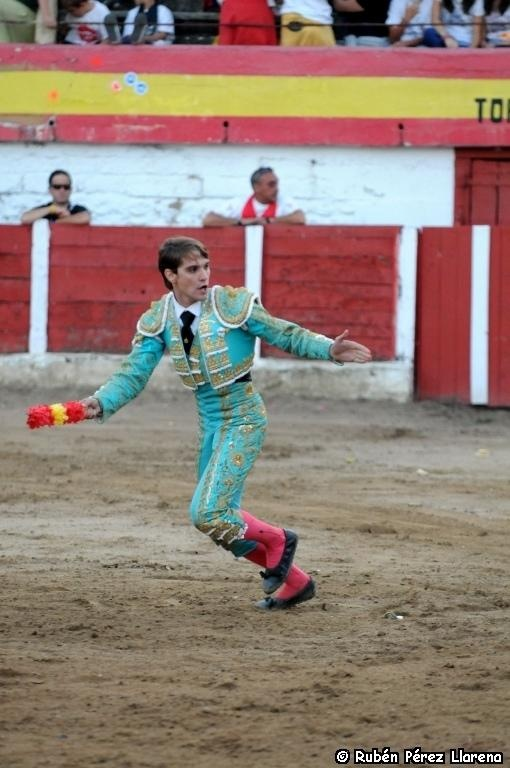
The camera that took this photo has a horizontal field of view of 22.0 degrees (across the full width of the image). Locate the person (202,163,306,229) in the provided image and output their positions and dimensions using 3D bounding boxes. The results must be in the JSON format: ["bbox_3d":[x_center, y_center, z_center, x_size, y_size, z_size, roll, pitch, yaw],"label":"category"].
[{"bbox_3d":[0.018,-1.423,9.993,0.583,0.643,0.202,-2,-1,-7],"label":"person"}]

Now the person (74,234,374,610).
[{"bbox_3d":[-0.099,0.164,4.794,0.848,1.373,0.549,4,24,27],"label":"person"}]

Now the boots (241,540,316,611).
[{"bbox_3d":[0.090,0.685,4.889,0.098,0.220,0.253,-14,-9,39],"label":"boots"}]
